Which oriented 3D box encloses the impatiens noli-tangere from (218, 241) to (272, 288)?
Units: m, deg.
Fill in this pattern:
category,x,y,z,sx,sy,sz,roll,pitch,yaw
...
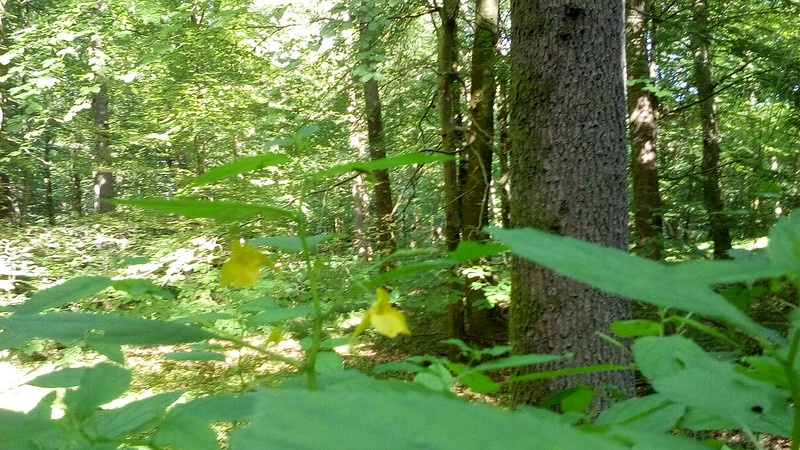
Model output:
category,x,y,z,sx,sy,sz,roll,pitch,yaw
impatiens noli-tangere,-2.476,0.621,10.929,0.791,0.743,0.266,-2,-5,-11
